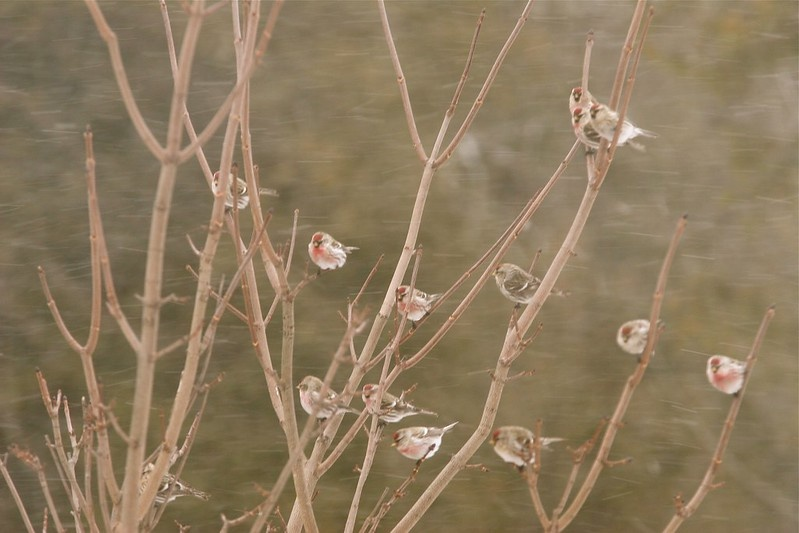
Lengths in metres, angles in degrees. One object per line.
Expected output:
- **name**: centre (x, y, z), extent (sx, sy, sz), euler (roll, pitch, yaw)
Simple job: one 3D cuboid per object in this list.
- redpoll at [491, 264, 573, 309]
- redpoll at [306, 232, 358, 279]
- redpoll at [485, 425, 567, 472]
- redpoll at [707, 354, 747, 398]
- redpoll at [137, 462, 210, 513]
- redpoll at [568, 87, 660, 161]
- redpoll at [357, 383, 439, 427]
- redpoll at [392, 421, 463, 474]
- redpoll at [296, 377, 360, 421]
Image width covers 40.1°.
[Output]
- **redpoll**: centre (0.839, 0.130, 6.938), extent (0.209, 0.245, 0.614), euler (-19, 17, -39)
- **redpoll**: centre (-0.458, -0.046, 7.098), extent (0.249, 0.386, 0.317), euler (3, 41, 0)
- **redpoll**: centre (0.699, 1.041, 6.429), extent (0.410, 0.199, 0.234), euler (3, 10, -29)
- **redpoll**: centre (1.918, 0.611, 6.448), extent (0.220, 0.173, 0.273), euler (43, 45, -18)
- **redpoll**: centre (-1.326, 1.294, 6.363), extent (0.409, 0.252, 0.167), euler (24, -8, -30)
- **redpoll**: centre (1.323, -0.808, 6.383), extent (0.225, 0.299, 0.561), euler (-1, 4, -30)
- **redpoll**: centre (-0.032, 0.842, 6.582), extent (0.483, 0.216, 0.140), euler (7, 7, -16)
- **redpoll**: centre (0.128, 1.069, 6.775), extent (0.179, 0.201, 0.629), euler (-1, 7, 45)
- **redpoll**: centre (-0.432, 0.832, 6.826), extent (0.486, 0.241, 0.236), euler (7, -2, -28)
